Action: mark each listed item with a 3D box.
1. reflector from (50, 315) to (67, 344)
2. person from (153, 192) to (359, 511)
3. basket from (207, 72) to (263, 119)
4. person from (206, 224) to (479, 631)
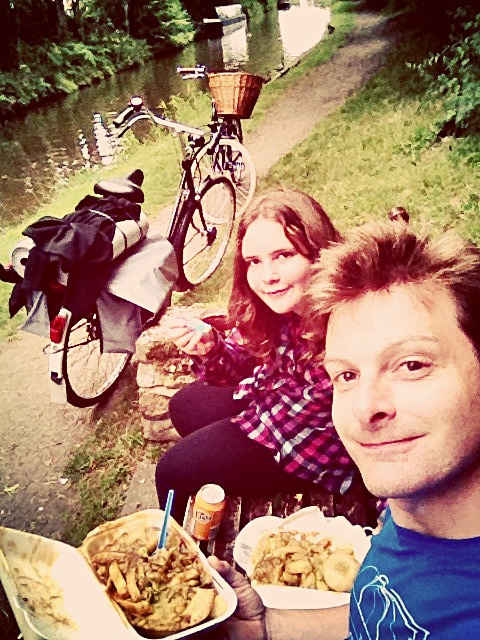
[{"bbox_3d":[-0.899,0.052,2.795,0.077,0.132,0.045,6,3,28],"label":"reflector"},{"bbox_3d":[0.061,0.348,2.436,0.769,1.429,0.549,9,26,-4],"label":"person"},{"bbox_3d":[-0.021,-1.617,4.110,0.379,0.356,0.385,-5,28,8],"label":"basket"},{"bbox_3d":[0.362,0.225,1.975,0.887,1.530,0.725,2,7,3],"label":"person"}]
